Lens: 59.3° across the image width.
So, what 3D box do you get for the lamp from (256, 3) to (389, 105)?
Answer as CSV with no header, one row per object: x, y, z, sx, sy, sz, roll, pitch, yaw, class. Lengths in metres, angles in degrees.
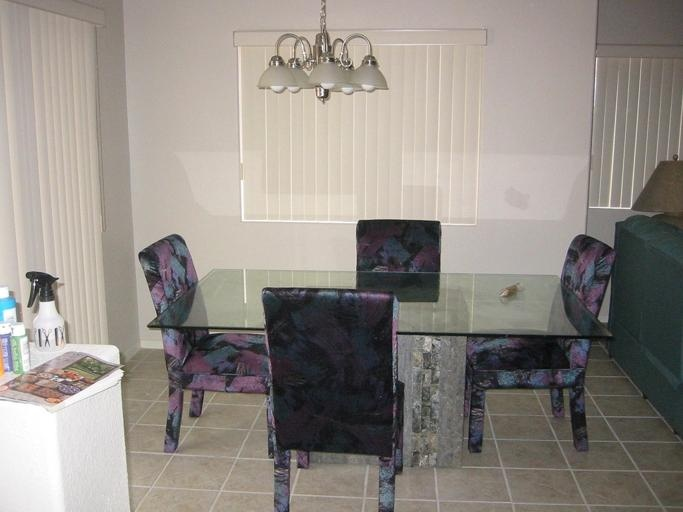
-0.170,-1.171,3.387,0.620,0.594,1.269,-4,13,-7,lamp
